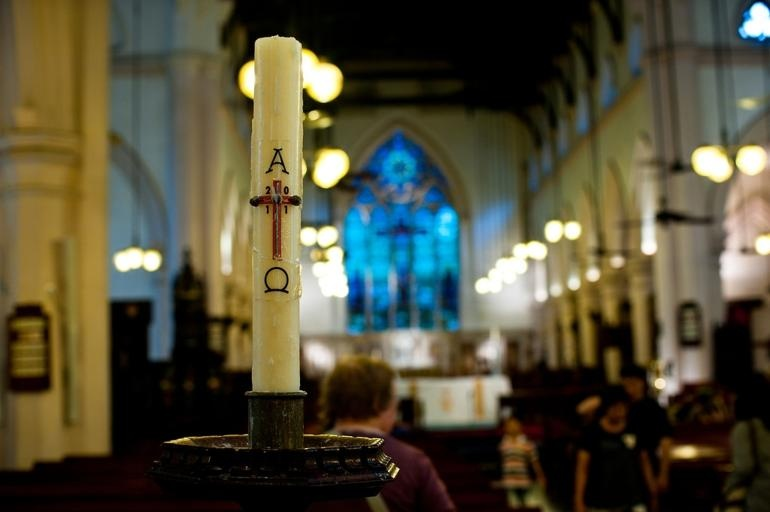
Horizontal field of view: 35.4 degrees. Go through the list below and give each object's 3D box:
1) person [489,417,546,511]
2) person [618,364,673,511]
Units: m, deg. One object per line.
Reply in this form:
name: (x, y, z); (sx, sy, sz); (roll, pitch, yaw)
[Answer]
person: (1.407, 2.107, 12.202); (0.458, 0.914, 0.384); (-3, -7, 11)
person: (2.578, 1.752, 11.649); (0.612, 1.394, 0.243); (3, -8, -35)
